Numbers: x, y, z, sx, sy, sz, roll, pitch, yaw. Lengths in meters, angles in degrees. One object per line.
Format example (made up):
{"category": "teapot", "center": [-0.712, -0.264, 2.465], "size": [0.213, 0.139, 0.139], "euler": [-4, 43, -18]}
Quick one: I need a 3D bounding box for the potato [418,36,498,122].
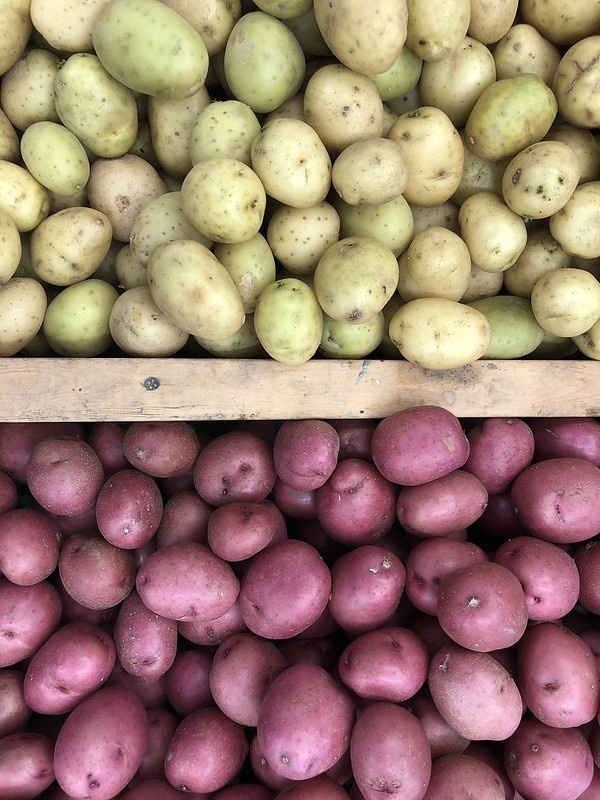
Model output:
{"category": "potato", "center": [0.344, -0.678, 1.699], "size": [0.144, 0.159, 0.186], "euler": [6, 98, 29]}

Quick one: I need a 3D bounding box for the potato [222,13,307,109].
{"category": "potato", "center": [-0.073, -0.679, 1.570], "size": [0.140, 0.142, 0.192], "euler": [-6, 97, -2]}

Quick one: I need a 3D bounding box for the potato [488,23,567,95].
{"category": "potato", "center": [0.509, -0.763, 1.728], "size": [0.145, 0.082, 0.157], "euler": [2, 99, -19]}
